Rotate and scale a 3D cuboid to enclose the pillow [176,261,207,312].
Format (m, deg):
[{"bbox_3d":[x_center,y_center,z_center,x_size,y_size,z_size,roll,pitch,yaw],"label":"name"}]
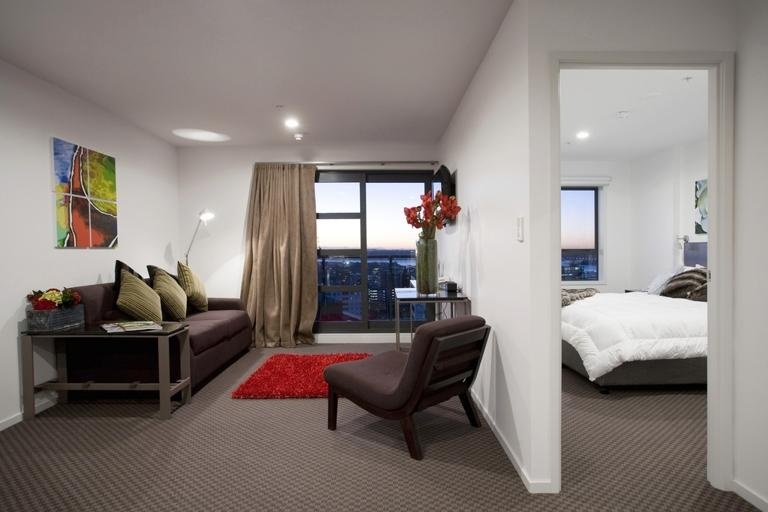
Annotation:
[{"bbox_3d":[-2.426,0.379,6.196,0.186,0.390,0.536,-7,14,-10],"label":"pillow"}]

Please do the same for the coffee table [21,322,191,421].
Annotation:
[{"bbox_3d":[-2.687,1.104,4.803,1.188,0.725,0.665,2,-1,-15],"label":"coffee table"}]

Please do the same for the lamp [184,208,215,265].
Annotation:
[{"bbox_3d":[-2.485,-0.243,6.767,0.385,0.729,0.576,-3,2,-40],"label":"lamp"}]

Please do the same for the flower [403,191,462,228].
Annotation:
[{"bbox_3d":[0.514,-0.472,5.466,0.462,0.443,0.414,-7,8,-40],"label":"flower"}]

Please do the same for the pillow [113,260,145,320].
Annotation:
[{"bbox_3d":[-2.842,0.319,5.326,0.163,0.525,0.546,-3,-4,0],"label":"pillow"}]

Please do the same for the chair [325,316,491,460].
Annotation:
[{"bbox_3d":[0.229,0.948,4.556,1.242,1.099,1.225,1,0,41],"label":"chair"}]

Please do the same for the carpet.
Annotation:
[{"bbox_3d":[-1.101,1.327,5.585,1.079,0.109,1.050,-18,19,-40],"label":"carpet"}]

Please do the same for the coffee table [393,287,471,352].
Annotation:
[{"bbox_3d":[0.515,0.728,5.648,0.796,0.772,0.806,0,-2,0],"label":"coffee table"}]

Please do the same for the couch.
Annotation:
[{"bbox_3d":[-2.376,0.529,5.423,0.983,1.055,1.822,-1,-1,2],"label":"couch"}]

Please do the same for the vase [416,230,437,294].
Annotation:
[{"bbox_3d":[0.457,0.061,5.458,0.233,0.693,0.159,-1,2,6],"label":"vase"}]
